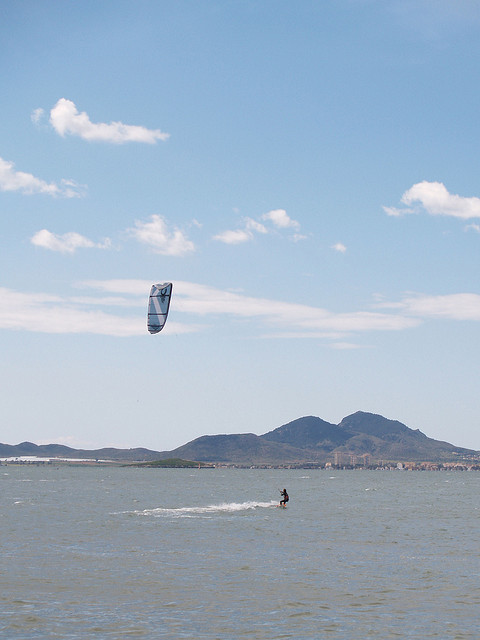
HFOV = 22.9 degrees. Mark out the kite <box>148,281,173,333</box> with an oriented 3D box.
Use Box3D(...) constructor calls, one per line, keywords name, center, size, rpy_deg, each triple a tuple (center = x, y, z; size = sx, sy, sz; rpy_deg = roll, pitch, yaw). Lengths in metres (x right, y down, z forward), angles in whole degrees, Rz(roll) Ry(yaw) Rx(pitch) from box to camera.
Box3D(name="kite", center=(-4.438, -0.631, 64.227), size=(1.167, 2.659, 3.419), rpy_deg=(2, -1, -5))
